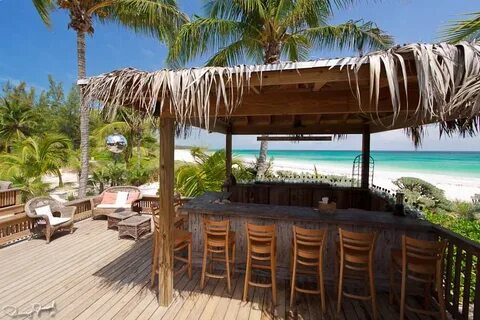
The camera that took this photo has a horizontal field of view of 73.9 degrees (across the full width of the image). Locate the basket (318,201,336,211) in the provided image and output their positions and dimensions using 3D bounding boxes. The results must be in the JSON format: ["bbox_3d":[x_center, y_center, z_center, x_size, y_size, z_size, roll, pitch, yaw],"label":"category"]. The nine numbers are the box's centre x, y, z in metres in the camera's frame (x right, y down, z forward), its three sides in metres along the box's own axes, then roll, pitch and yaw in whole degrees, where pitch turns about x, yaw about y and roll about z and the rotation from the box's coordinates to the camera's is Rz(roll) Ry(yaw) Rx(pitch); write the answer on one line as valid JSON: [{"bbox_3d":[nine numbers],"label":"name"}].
[{"bbox_3d":[2.202,1.159,8.089,0.314,0.168,0.235,1,-6,13],"label":"basket"}]

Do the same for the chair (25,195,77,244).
[{"bbox_3d":[-6.002,1.768,10.197,1.321,1.461,1.501,2,3,35],"label":"chair"}]
